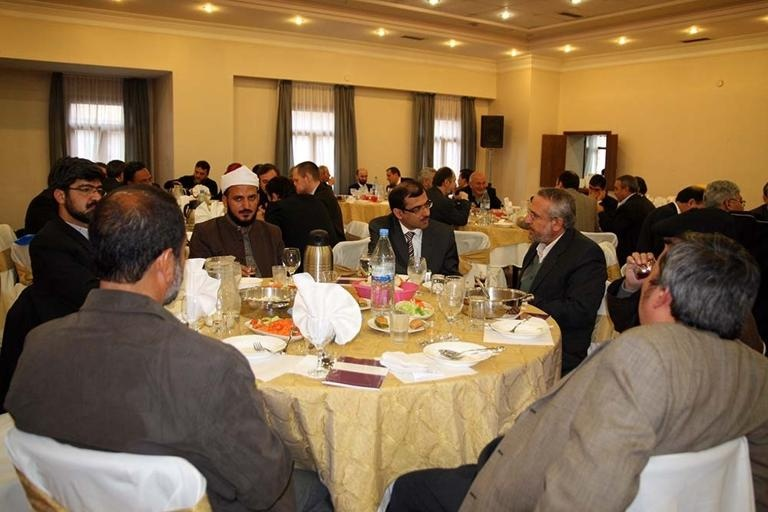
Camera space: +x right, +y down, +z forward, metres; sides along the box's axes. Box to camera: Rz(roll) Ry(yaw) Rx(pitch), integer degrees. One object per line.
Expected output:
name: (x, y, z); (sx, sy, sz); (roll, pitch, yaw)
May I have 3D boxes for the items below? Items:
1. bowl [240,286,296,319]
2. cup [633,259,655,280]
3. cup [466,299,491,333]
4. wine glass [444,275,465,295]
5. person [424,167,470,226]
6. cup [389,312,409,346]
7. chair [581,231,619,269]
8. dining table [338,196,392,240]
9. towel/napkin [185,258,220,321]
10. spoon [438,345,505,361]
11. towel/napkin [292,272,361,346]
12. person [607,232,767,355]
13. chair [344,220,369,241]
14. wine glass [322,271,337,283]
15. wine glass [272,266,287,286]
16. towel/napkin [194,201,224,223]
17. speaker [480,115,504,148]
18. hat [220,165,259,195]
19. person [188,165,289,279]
bowl: (-0.599, 0.231, 2.794); (0.169, 0.050, 0.174); (1, 9, 0)
cup: (1.185, 0.057, 2.532); (0.089, 0.091, 0.082); (-2, -4, 0)
cup: (0.441, 0.271, 2.613); (0.087, 0.165, 0.153); (0, 3, -13)
wine glass: (0.306, 0.128, 2.406); (0.074, 0.080, 0.078); (1, -2, -13)
person: (0.840, -0.769, 7.023); (0.486, 0.683, 1.693); (0, 9, 9)
cup: (0.063, 0.306, 2.317); (0.103, 0.181, 0.109); (0, 3, 0)
chair: (1.506, -0.042, 3.872); (0.194, 0.254, 0.199); (-6, 32, 6)
dining table: (-0.298, -0.593, 7.788); (0.585, 0.355, 0.684); (0, 9, 0)
towel/napkin: (-0.776, 0.145, 2.402); (0.177, 0.242, 0.096); (4, 1, 22)
spoon: (0.342, 0.391, 2.243); (0.169, 0.028, 0.091); (-1, 1, -10)
towel/napkin: (-0.230, 0.216, 2.138); (0.236, 0.288, 0.099); (3, 18, 7)
person: (1.272, 0.147, 2.520); (0.598, 0.314, 0.841); (1, 20, 2)
chair: (-0.272, -0.246, 5.674); (0.218, 0.245, 0.311); (2, 34, 3)
wine glass: (-0.299, 0.116, 2.978); (0.062, 0.052, 0.052); (-2, 8, -6)
wine glass: (-0.569, 0.114, 3.054); (0.083, 0.107, 0.090); (0, 0, -6)
towel/napkin: (-1.690, -0.422, 5.316); (0.269, 0.135, 0.352); (4, 11, 26)
speaker: (2.255, -2.578, 11.542); (0.453, 0.638, 0.316); (0, 8, 7)
hat: (-1.005, -0.513, 3.816); (0.164, 0.107, 0.207); (-2, 0, -23)
person: (-0.992, -0.120, 3.805); (0.714, 0.896, 0.516); (-1, 1, -42)
